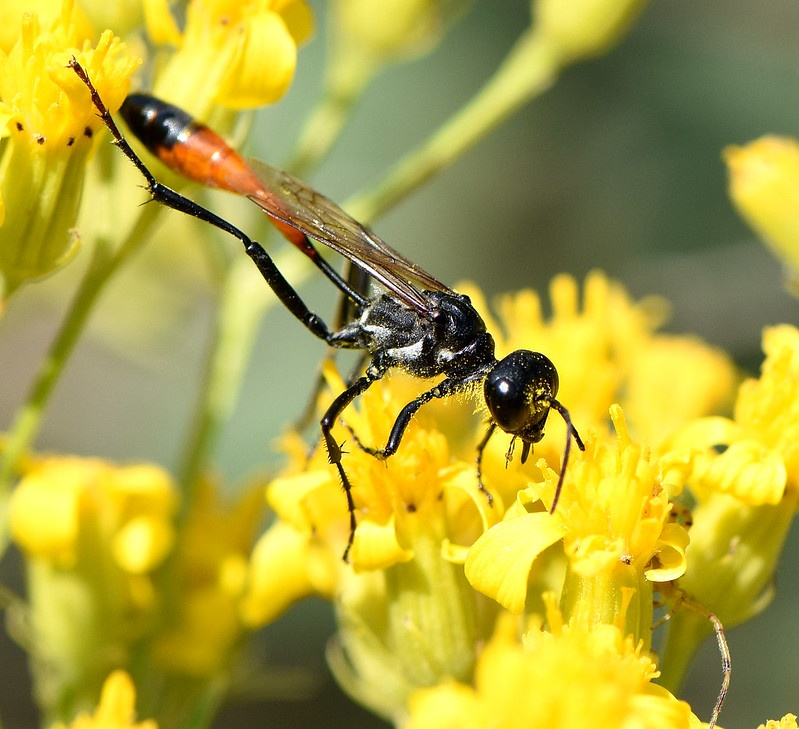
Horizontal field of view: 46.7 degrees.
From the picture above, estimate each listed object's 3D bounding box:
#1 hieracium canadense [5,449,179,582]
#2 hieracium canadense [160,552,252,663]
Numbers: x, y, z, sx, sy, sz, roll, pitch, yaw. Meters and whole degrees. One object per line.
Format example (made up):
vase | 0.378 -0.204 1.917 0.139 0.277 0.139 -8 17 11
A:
hieracium canadense | -0.339 0.157 1.045 0.169 0.073 0.152 5 34 -13
hieracium canadense | -0.214 0.281 1.035 0.023 0.086 0.093 -9 46 46
